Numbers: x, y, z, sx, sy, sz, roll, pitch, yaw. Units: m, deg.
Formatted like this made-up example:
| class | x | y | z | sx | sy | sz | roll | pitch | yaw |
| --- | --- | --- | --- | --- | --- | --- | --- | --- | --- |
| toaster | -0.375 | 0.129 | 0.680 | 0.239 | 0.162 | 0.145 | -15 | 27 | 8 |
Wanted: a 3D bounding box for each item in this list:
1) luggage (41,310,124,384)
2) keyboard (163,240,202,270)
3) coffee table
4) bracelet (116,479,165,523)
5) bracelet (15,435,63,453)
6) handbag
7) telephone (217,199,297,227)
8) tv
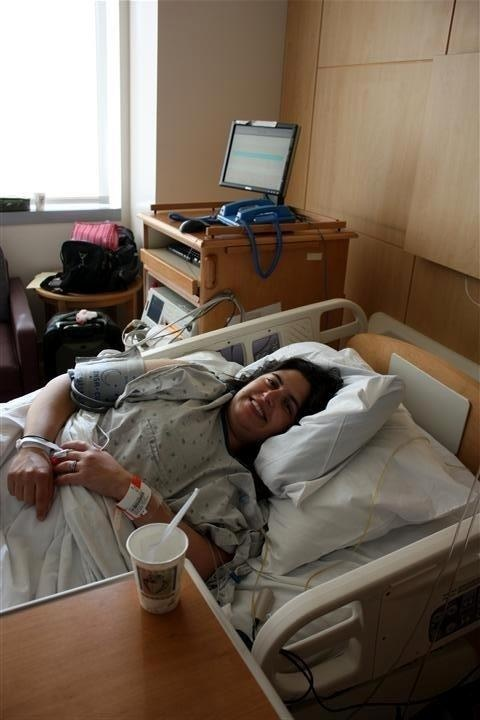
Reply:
| class | x | y | z | sx | sy | sz | roll | pitch | yaw |
| --- | --- | --- | --- | --- | --- | --- | --- | --- | --- |
| luggage | -0.701 | -0.067 | 2.046 | 0.227 | 0.410 | 0.224 | -8 | 33 | -19 |
| keyboard | -0.264 | -0.521 | 2.241 | 0.126 | 0.058 | 0.230 | -22 | 42 | -30 |
| coffee table | -0.863 | -0.348 | 2.700 | 0.359 | 0.443 | 0.376 | -13 | 41 | -22 |
| bracelet | -0.205 | 0.277 | 0.942 | 0.077 | 0.076 | 0.028 | -47 | 15 | -27 |
| bracelet | -0.441 | 0.177 | 1.012 | 0.063 | 0.027 | 0.053 | 20 | 12 | -21 |
| handbag | -0.783 | -0.571 | 2.687 | 0.431 | 0.478 | 0.342 | -2 | 14 | -18 |
| telephone | 0.079 | -0.621 | 1.953 | 0.207 | 0.074 | 0.185 | -6 | 18 | -19 |
| tv | 0.092 | -0.937 | 2.149 | 0.056 | 0.443 | 0.555 | 2 | 23 | -37 |
